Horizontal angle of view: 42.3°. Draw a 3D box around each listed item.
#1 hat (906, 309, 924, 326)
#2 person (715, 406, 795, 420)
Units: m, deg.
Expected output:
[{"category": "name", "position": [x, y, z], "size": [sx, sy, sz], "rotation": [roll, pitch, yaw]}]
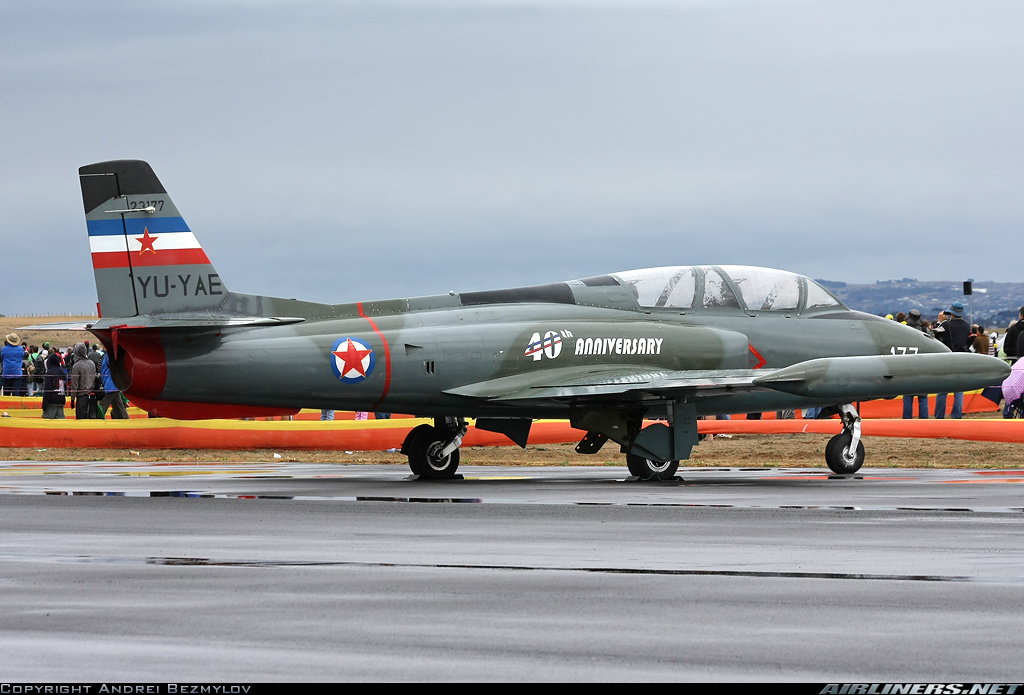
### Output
[{"category": "hat", "position": [8.356, -0.633, 27.644], "size": [0.579, 0.237, 0.555], "rotation": [4, 21, 14]}, {"category": "person", "position": [4.402, 1.187, 23.998], "size": [1.088, 0.160, 0.906], "rotation": [2, 19, 26]}]
